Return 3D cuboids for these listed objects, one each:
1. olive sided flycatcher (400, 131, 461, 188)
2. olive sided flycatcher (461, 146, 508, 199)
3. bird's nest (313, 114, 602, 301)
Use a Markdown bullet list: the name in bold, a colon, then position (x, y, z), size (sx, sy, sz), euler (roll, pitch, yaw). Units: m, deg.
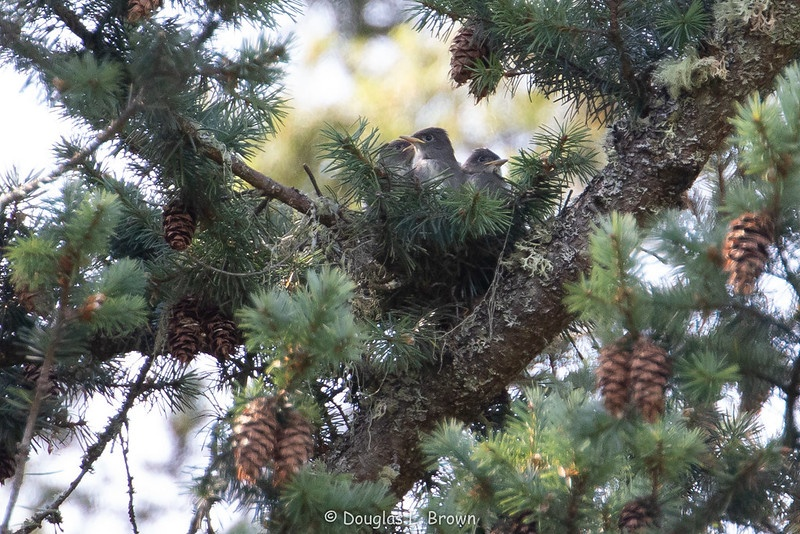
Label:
- **olive sided flycatcher**: position (0.136, -0.485, 7.450), size (0.231, 0.230, 0.119), euler (14, -59, 0)
- **olive sided flycatcher**: position (0.409, -0.459, 7.673), size (0.152, 0.221, 0.267), euler (2, -4, -43)
- **bird's nest**: position (0.210, -0.256, 7.164), size (0.865, 0.886, 0.667), euler (-2, -82, -16)
